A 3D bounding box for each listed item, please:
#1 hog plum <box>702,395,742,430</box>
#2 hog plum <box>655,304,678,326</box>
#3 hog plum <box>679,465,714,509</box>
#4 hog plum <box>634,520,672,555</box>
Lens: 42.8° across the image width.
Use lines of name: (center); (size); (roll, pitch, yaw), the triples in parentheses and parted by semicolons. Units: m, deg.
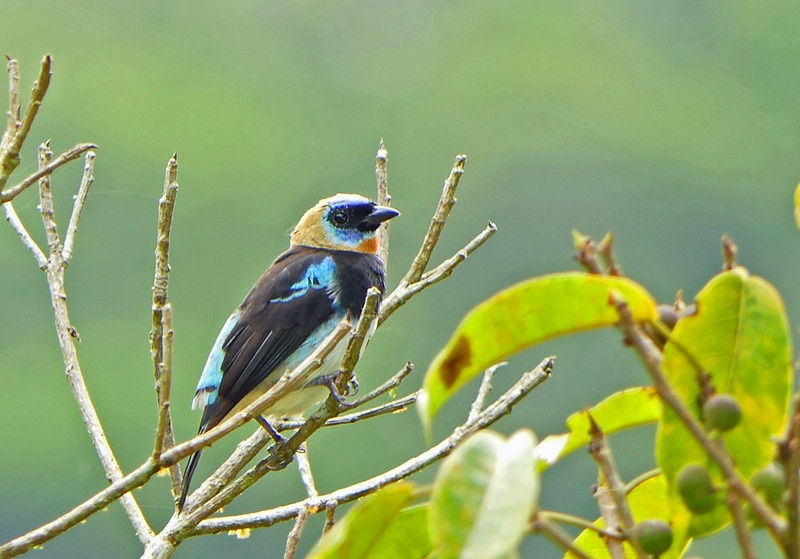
hog plum: (0.865, 0.352, 2.740); (0.085, 0.090, 0.110); (1, -87, 6)
hog plum: (0.778, 0.086, 2.973); (0.030, 0.064, 0.062); (-17, -14, 7)
hog plum: (0.786, 0.548, 2.713); (0.095, 0.078, 0.129); (-7, -45, 15)
hog plum: (0.675, 0.676, 2.721); (0.086, 0.091, 0.111); (0, -81, 6)
